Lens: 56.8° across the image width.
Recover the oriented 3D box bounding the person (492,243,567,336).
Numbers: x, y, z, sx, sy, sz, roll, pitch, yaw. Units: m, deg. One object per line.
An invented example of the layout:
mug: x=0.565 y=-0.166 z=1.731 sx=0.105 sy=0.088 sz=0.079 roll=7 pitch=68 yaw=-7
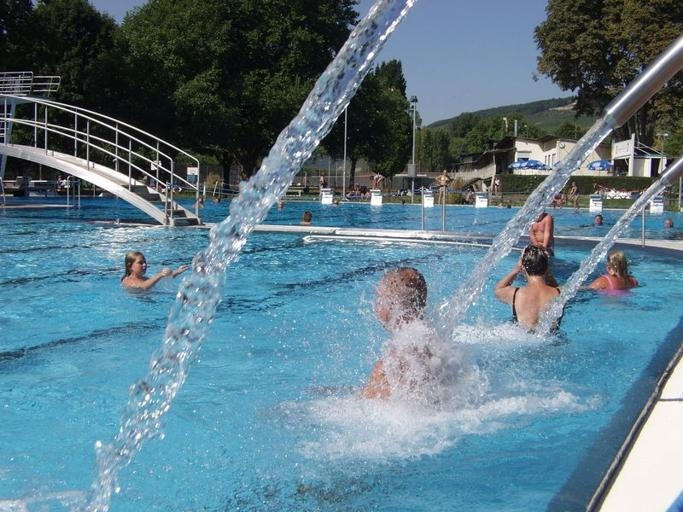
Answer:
person: x=2.061 y=0.326 z=6.970 sx=0.464 sy=0.946 sz=0.652 roll=-3 pitch=11 yaw=-15

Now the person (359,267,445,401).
person: x=0.406 y=0.613 z=4.653 sx=0.457 sy=1.105 sz=0.398 roll=1 pitch=11 yaw=5

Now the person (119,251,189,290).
person: x=-2.657 y=0.252 z=9.029 sx=0.944 sy=0.525 sz=0.549 roll=0 pitch=15 yaw=-24

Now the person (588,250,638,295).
person: x=3.993 y=0.256 z=9.135 sx=0.838 sy=0.650 sz=0.362 roll=-6 pitch=19 yaw=6
